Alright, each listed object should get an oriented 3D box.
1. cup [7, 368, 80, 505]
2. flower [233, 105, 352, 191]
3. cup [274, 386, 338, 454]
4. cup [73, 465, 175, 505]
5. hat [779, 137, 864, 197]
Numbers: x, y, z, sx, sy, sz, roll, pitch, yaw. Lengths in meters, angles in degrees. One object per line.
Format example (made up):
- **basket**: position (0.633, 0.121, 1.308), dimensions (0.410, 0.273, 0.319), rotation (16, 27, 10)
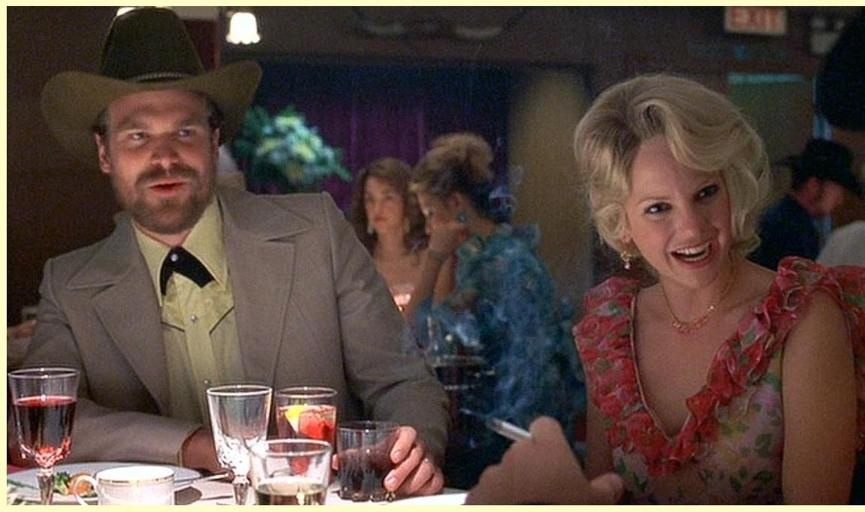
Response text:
- **cup**: position (-1.101, 0.519, 2.177), dimensions (0.179, 0.423, 0.104), rotation (-5, 1, -14)
- **flower**: position (-0.556, -0.403, 2.945), dimensions (0.395, 0.354, 0.155), rotation (9, 13, 7)
- **cup**: position (-0.378, 0.462, 2.302), dimensions (0.165, 0.260, 0.118), rotation (2, -2, -4)
- **cup**: position (-0.829, 0.624, 2.053), dimensions (0.262, 0.086, 0.140), rotation (-3, 8, -7)
- **hat**: position (1.431, -0.328, 2.850), dimensions (0.227, 0.256, 0.236), rotation (0, 0, -8)
